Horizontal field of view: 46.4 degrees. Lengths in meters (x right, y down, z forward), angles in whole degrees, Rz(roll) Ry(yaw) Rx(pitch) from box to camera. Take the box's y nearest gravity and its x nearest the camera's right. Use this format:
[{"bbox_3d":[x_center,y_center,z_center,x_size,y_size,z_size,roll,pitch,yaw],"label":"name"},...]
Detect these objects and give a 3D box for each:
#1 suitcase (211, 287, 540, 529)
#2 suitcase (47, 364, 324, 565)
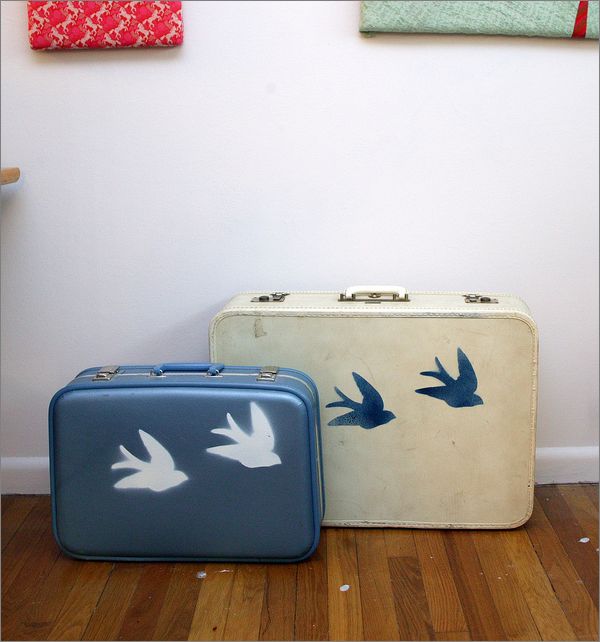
[{"bbox_3d":[0.174,0.206,1.605,0.508,0.437,0.183,0,12,2],"label":"suitcase"},{"bbox_3d":[-0.249,0.319,1.525,0.398,0.342,0.135,0,12,1],"label":"suitcase"}]
